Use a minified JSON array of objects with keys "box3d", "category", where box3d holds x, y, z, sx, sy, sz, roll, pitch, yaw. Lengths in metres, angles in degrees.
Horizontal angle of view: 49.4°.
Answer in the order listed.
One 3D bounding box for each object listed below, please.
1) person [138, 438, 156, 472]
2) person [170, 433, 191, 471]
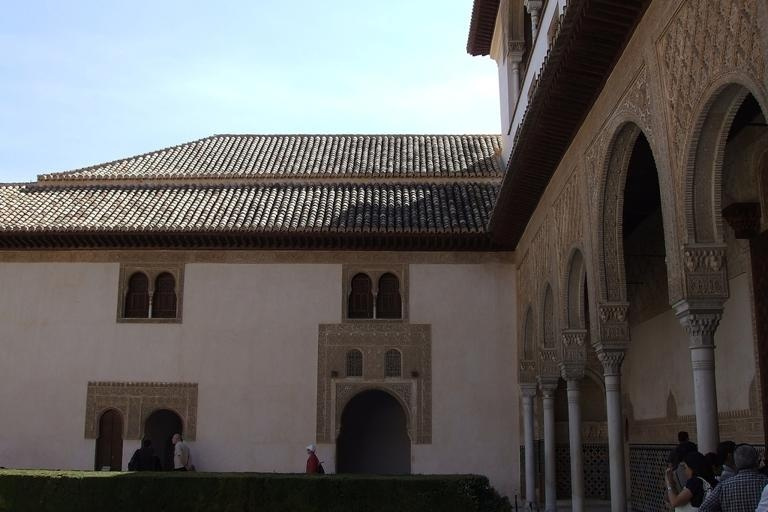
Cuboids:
[{"box3d":[-3.997,3.341,14.026,0.301,0.498,1.408,3,-14,-15],"category":"person"},{"box3d":[-3.848,3.711,15.837,0.338,0.675,1.467,2,-14,-13],"category":"person"}]
